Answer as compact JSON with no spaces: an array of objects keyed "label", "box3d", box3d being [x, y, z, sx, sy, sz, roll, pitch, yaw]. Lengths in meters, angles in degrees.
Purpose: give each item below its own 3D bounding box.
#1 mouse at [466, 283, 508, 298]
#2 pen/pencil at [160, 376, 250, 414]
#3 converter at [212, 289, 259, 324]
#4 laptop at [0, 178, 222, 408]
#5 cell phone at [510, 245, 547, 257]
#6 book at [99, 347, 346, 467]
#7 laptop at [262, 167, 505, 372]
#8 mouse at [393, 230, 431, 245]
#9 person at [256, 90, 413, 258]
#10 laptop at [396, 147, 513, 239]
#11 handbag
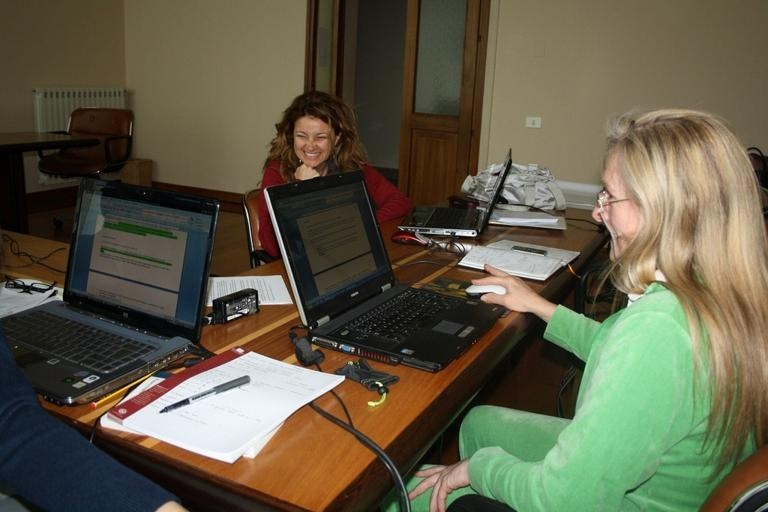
[{"label":"mouse","box3d":[0.331,0.108,1.678,0.095,0.023,0.052,1,13,22]},{"label":"pen/pencil","box3d":[-0.392,0.306,1.122,0.143,0.015,0.015,-18,58,-39]},{"label":"converter","box3d":[-0.438,0.147,1.559,0.056,0.086,0.187,16,21,35]},{"label":"laptop","box3d":[-0.698,0.059,1.421,0.629,0.442,0.558,15,23,29]},{"label":"cell phone","box3d":[0.594,-0.020,2.122,0.103,0.017,0.177,-8,16,-43]},{"label":"book","box3d":[-0.363,0.319,1.111,0.236,0.027,0.252,10,25,27]},{"label":"laptop","box3d":[0.029,0.009,1.504,0.584,0.384,0.553,14,18,29]},{"label":"mouse","box3d":[0.124,-0.083,2.268,0.148,0.039,0.064,1,16,37]},{"label":"person","box3d":[-0.325,-0.433,2.700,0.973,0.701,0.596,-28,41,-36]},{"label":"laptop","box3d":[0.343,-0.244,2.452,0.487,0.323,0.541,7,21,17]},{"label":"handbag","box3d":[0.764,-0.404,2.985,0.415,0.121,0.359,14,20,32]}]
